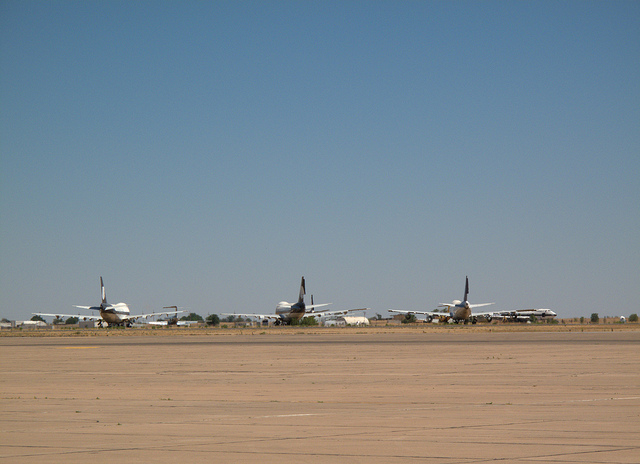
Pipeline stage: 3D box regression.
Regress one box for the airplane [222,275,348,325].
[{"bbox_3d":[-4.176,9.675,155.699,14.783,6.349,14.558,0,-4,-17],"label":"airplane"}]
